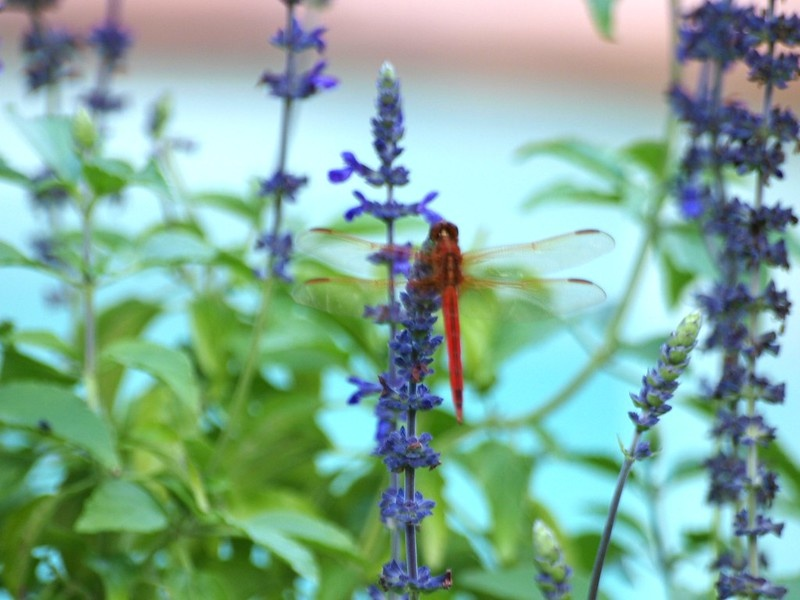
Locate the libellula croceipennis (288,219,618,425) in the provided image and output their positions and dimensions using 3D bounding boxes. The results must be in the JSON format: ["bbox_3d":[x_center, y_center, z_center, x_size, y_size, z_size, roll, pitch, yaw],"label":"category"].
[{"bbox_3d":[0.072,0.027,1.827,0.454,0.343,0.140,0,-46,-5],"label":"libellula croceipennis"}]

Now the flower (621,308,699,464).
[{"bbox_3d":[0.319,0.108,1.582,0.092,0.176,0.165,-1,-8,12],"label":"flower"}]
